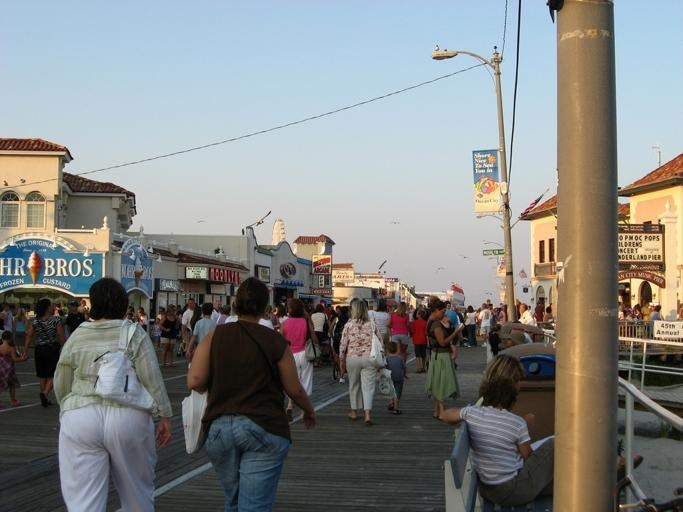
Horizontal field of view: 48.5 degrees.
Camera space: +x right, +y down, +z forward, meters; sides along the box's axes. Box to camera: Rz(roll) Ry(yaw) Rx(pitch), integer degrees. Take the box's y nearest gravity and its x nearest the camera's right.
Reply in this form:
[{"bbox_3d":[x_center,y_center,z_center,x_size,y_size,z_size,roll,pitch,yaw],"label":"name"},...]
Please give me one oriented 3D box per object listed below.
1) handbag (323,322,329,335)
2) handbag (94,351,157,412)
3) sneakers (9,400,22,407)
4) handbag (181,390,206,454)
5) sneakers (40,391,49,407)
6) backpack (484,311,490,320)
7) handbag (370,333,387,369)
[{"bbox_3d":[-0.419,1.964,20.632,0.054,0.263,0.246,5,3,8],"label":"handbag"},{"bbox_3d":[-1.732,0.948,5.925,0.444,0.486,0.480,4,5,-6],"label":"handbag"},{"bbox_3d":[-6.303,2.829,14.576,0.118,0.113,0.248,1,4,3],"label":"sneakers"},{"bbox_3d":[-1.154,1.304,5.976,0.174,0.561,0.152,3,-10,22],"label":"handbag"},{"bbox_3d":[-5.621,2.674,14.167,0.113,0.378,0.147,-9,11,-12],"label":"sneakers"},{"bbox_3d":[5.966,2.391,30.969,0.273,0.309,0.157,2,13,26],"label":"backpack"},{"bbox_3d":[0.622,1.595,12.765,0.247,0.570,0.437,-1,-4,11],"label":"handbag"}]
